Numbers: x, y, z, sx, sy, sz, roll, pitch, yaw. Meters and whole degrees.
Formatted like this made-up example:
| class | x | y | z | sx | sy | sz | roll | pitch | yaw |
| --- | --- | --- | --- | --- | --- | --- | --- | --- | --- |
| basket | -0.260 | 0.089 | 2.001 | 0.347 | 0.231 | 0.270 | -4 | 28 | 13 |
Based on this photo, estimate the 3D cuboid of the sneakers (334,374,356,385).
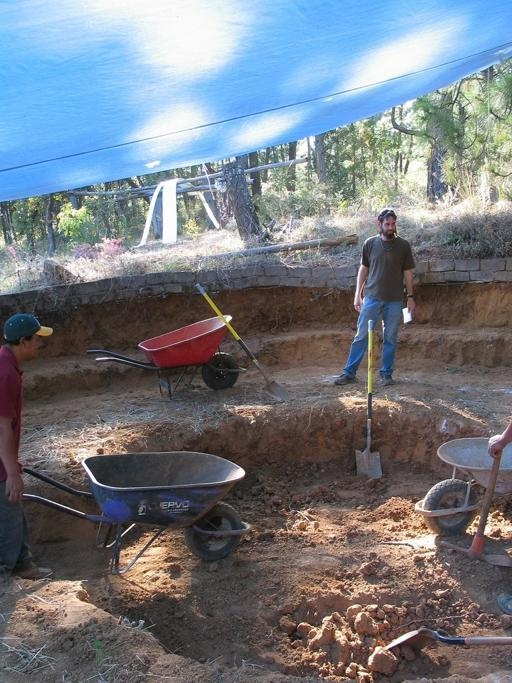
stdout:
| class | x | y | z | sx | sy | sz | roll | pitch | yaw |
| --- | --- | --- | --- | --- | --- | --- | --- | --- | --- |
| sneakers | 0.944 | 0.418 | 6.671 | 0.232 | 0.085 | 0.099 | 0 | 3 | -2 |

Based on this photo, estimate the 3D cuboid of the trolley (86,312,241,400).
| class | x | y | z | sx | sy | sz | roll | pitch | yaw |
| --- | --- | --- | --- | --- | --- | --- | --- | --- | --- |
| trolley | -0.882 | 0.226 | 6.510 | 1.511 | 0.659 | 0.628 | -8 | 10 | -21 |

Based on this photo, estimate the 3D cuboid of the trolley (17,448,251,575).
| class | x | y | z | sx | sy | sz | roll | pitch | yaw |
| --- | --- | --- | --- | --- | --- | --- | --- | --- | --- |
| trolley | -0.674 | 1.132 | 4.045 | 1.586 | 0.599 | 0.727 | -1 | 9 | -20 |

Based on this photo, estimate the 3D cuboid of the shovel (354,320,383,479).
| class | x | y | z | sx | sy | sz | roll | pitch | yaw |
| --- | --- | --- | --- | --- | --- | --- | --- | --- | --- |
| shovel | 0.994 | 0.514 | 5.704 | 0.185 | 1.545 | 0.366 | 1 | -2 | -23 |

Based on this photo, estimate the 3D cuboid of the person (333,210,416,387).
| class | x | y | z | sx | sy | sz | roll | pitch | yaw |
| --- | --- | --- | --- | --- | --- | --- | --- | --- | --- |
| person | 1.203 | -0.404 | 6.315 | 0.789 | 1.790 | 0.569 | 0 | 15 | 27 |

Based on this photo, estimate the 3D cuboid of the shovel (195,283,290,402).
| class | x | y | z | sx | sy | sz | roll | pitch | yaw |
| --- | --- | --- | --- | --- | --- | --- | --- | --- | --- |
| shovel | -0.168 | 0.007 | 7.196 | 0.579 | 1.016 | 2.283 | -8 | 11 | -7 |

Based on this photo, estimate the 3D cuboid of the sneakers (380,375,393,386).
| class | x | y | z | sx | sy | sz | roll | pitch | yaw |
| --- | --- | --- | --- | --- | --- | --- | --- | --- | --- |
| sneakers | 1.356 | 0.421 | 6.543 | 0.106 | 0.061 | 0.132 | 2 | -9 | -30 |

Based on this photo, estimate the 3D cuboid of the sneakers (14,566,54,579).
| class | x | y | z | sx | sy | sz | roll | pitch | yaw |
| --- | --- | --- | --- | --- | --- | --- | --- | --- | --- |
| sneakers | -1.380 | 1.428 | 3.872 | 0.241 | 0.083 | 0.073 | 0 | 8 | -11 |

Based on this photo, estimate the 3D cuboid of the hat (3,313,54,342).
| class | x | y | z | sx | sy | sz | roll | pitch | yaw |
| --- | --- | --- | --- | --- | --- | --- | --- | --- | --- |
| hat | -1.368 | -0.078 | 3.758 | 0.308 | 0.153 | 0.174 | -13 | 20 | -27 |

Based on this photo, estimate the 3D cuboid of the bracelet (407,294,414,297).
| class | x | y | z | sx | sy | sz | roll | pitch | yaw |
| --- | --- | --- | --- | --- | --- | --- | --- | --- | --- |
| bracelet | 1.517 | -0.451 | 6.182 | 0.035 | 0.024 | 0.026 | -1 | 0 | 22 |
